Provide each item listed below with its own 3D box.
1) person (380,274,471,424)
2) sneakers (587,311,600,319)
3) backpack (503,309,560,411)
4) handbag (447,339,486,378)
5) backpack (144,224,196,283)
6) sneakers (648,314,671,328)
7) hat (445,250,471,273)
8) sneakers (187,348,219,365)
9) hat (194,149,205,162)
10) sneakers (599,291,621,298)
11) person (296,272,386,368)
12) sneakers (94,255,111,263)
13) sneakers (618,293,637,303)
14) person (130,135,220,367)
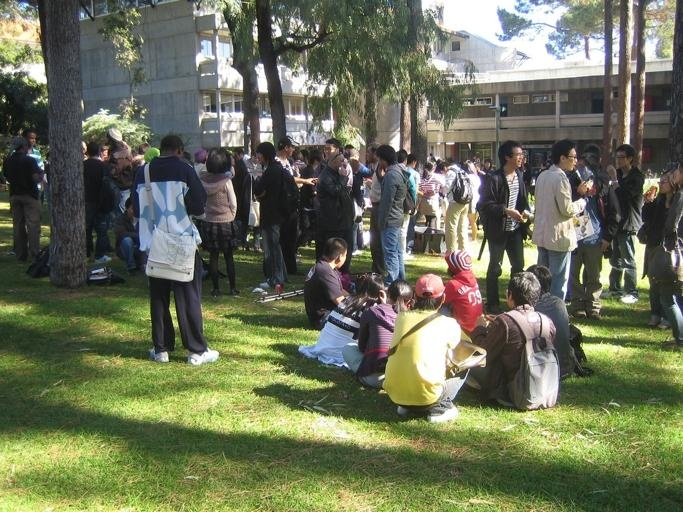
[{"bbox_3d":[0.841,0.959,7.060,0.820,1.512,0.482,0,3,-2],"label":"person"},{"bbox_3d":[3.735,0.884,10.187,0.165,0.100,0.108,9,-29,-17],"label":"sneakers"},{"bbox_3d":[2.043,1.117,7.313,0.576,1.066,0.252,-1,3,-15],"label":"backpack"},{"bbox_3d":[1.282,1.052,7.128,0.355,0.158,0.356,-33,40,-26],"label":"handbag"},{"bbox_3d":[-1.962,-0.031,7.882,0.454,0.572,0.228,8,7,-6],"label":"backpack"},{"bbox_3d":[4.531,0.943,9.787,0.229,0.116,0.141,10,16,-26],"label":"sneakers"},{"bbox_3d":[1.443,0.075,8.476,0.148,0.240,0.288,-21,-6,38],"label":"hat"},{"bbox_3d":[-1.636,1.192,8.235,0.390,0.213,0.143,-10,13,-41],"label":"sneakers"},{"bbox_3d":[-2.912,-2.062,14.155,0.187,0.311,0.245,3,-40,-6],"label":"hat"},{"bbox_3d":[4.448,0.643,11.385,0.329,0.176,0.132,-1,8,23],"label":"sneakers"},{"bbox_3d":[0.116,0.673,8.585,0.876,1.131,1.013,4,20,-43],"label":"person"},{"bbox_3d":[-4.435,0.078,12.772,0.261,0.136,0.120,-7,16,-24],"label":"sneakers"},{"bbox_3d":[4.639,0.691,11.121,0.258,0.157,0.113,3,-25,-30],"label":"sneakers"},{"bbox_3d":[-1.959,-0.063,8.088,0.881,2.699,0.540,-1,3,-13],"label":"person"}]
